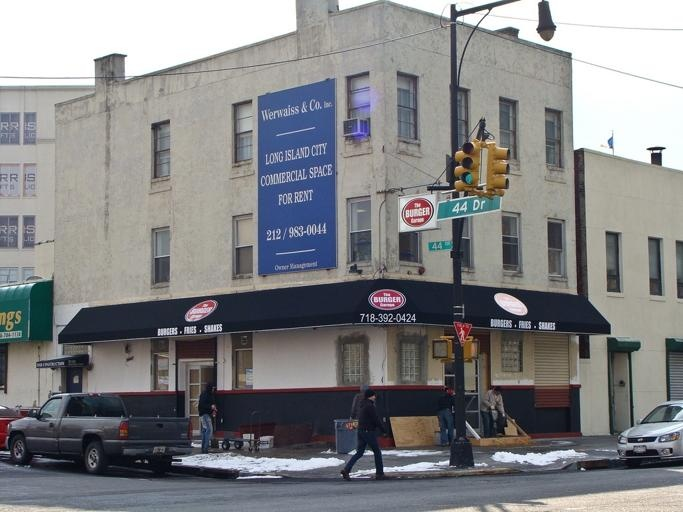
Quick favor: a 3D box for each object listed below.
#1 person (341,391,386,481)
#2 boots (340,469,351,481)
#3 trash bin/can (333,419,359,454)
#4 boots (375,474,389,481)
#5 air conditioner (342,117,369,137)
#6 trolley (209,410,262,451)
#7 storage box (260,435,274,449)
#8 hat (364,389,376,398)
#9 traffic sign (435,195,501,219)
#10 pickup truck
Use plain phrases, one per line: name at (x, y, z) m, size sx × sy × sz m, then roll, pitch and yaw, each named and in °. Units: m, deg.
person at (0.754, 5.358, 41.955) m, size 1.092 × 2.635 × 1.275 m, roll 4°, pitch -6°, yaw -23°
boots at (0.117, 6.482, 41.506) m, size 0.174 × 0.420 × 0.147 m, roll -19°, pitch 15°, yaw -6°
trash bin/can at (0.221, 6.025, 47.307) m, size 0.926 × 1.032 × 0.961 m, roll -3°, pitch 2°, yaw -27°
boots at (1.201, 6.560, 41.547) m, size 0.395 × 0.173 × 0.147 m, roll 0°, pitch 2°, yaw -24°
air conditioner at (0.540, -4.576, 49.516) m, size 0.591 × 0.727 × 0.999 m, roll -2°, pitch 4°, yaw -43°
trolley at (-3.642, 6.195, 49.498) m, size 1.698 × 1.266 × 1.581 m, roll 8°, pitch -9°, yaw -15°
storage box at (-2.582, 6.506, 49.063) m, size 0.543 × 0.536 × 0.405 m, roll -5°, pitch -9°, yaw 27°
hat at (0.889, 4.095, 41.834) m, size 0.319 × 0.182 × 0.322 m, roll -2°, pitch 3°, yaw -15°
traffic sign at (3.826, -1.512, 42.438) m, size 0.796 × 0.694 × 2.360 m, roll -1°, pitch 2°, yaw -30°
pickup truck at (-7.574, 5.663, 44.909) m, size 5.601 × 2.654 × 4.571 m, roll 1°, pitch -7°, yaw -6°
